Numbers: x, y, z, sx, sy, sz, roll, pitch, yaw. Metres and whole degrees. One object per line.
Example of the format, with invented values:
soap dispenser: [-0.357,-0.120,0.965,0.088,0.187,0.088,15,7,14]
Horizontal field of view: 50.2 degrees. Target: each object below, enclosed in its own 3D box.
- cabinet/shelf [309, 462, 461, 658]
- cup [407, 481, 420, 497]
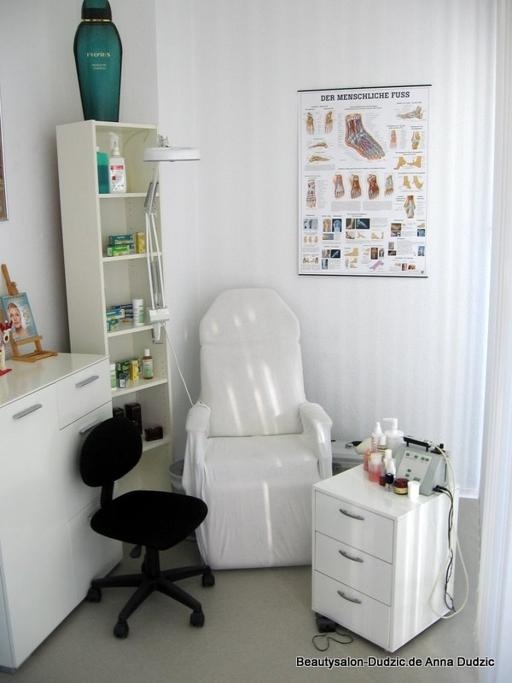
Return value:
cabinet/shelf: [0.404,0.656,2.063,0.466,0.705,0.439,-9,13,-43]
cup: [0.508,0.477,1.761,0.035,0.055,0.042,0,6,8]
